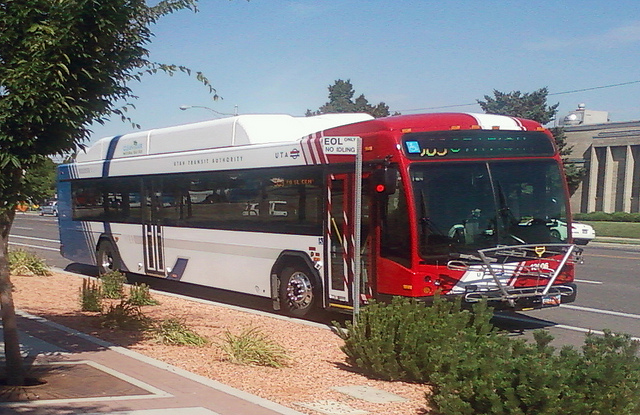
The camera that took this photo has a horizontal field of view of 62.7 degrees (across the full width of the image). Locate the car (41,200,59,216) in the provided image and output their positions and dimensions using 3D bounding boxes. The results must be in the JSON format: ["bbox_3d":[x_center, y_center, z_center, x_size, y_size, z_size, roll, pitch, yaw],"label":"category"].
[{"bbox_3d":[-30.286,0.208,59.075,3.283,1.311,1.957,10,10,43],"label":"car"}]

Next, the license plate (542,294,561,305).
[{"bbox_3d":[4.588,1.822,10.416,0.349,0.168,0.299,-1,3,-16],"label":"license plate"}]

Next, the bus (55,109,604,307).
[{"bbox_3d":[-3.427,0.002,16.828,6.175,4.550,19.840,-2,2,-39],"label":"bus"}]
